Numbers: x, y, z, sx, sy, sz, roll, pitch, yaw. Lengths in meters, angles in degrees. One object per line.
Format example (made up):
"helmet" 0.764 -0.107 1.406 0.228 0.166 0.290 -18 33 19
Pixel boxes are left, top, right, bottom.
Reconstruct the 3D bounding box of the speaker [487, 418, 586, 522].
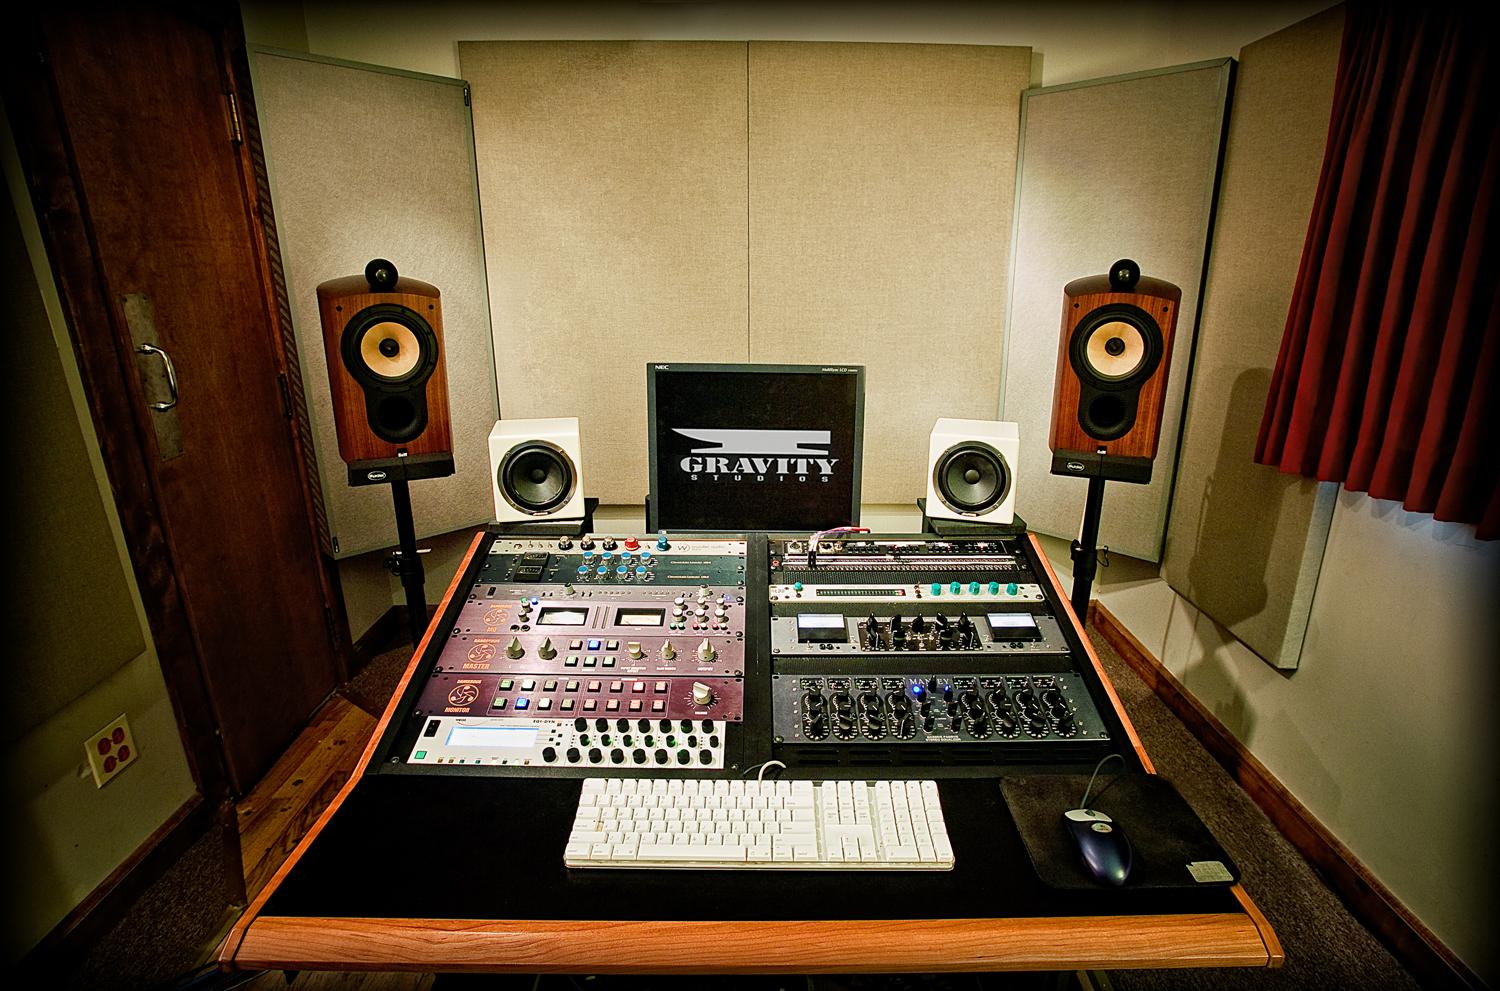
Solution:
"speaker" -0.685 -0.071 3.272 0.304 0.268 0.289 -2 8 0

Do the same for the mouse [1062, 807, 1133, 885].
"mouse" 0.868 0.855 2.445 0.155 0.070 0.235 0 30 -8

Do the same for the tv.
"tv" 0.009 -0.168 3.221 0.609 0.442 0.060 1 9 1

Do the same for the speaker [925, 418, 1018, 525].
"speaker" 0.772 -0.066 3.245 0.396 0.273 0.383 1 9 -5

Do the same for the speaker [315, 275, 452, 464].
"speaker" -1.278 -0.433 3.473 0.440 0.668 0.393 -5 23 -18
